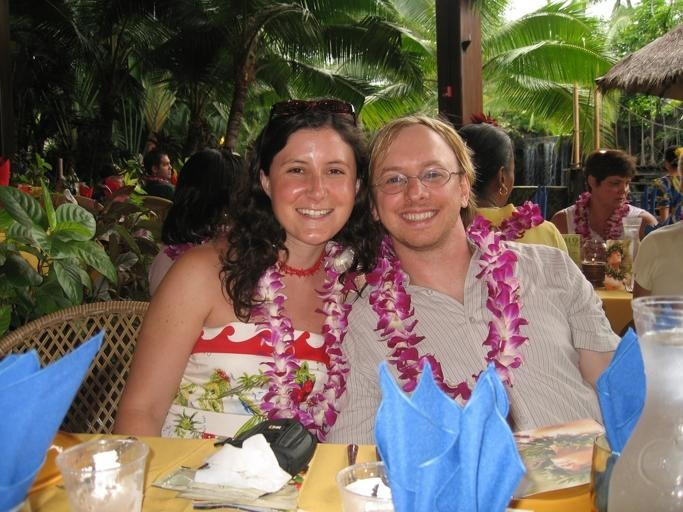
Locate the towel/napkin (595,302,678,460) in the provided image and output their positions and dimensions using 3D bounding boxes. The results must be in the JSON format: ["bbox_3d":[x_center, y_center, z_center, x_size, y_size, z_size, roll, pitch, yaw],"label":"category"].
[{"bbox_3d":[0.633,0.278,1.344,0.080,0.293,0.206,-9,-17,21],"label":"towel/napkin"}]

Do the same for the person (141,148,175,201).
[{"bbox_3d":[-2.531,-1.066,8.447,0.367,0.737,0.828,-10,9,-11],"label":"person"}]

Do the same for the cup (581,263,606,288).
[{"bbox_3d":[1.620,0.125,3.907,0.140,0.168,0.149,-1,4,0],"label":"cup"}]

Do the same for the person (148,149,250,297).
[{"bbox_3d":[-0.776,-0.118,3.484,0.415,1.067,0.349,5,-21,-11],"label":"person"}]

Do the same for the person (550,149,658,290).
[{"bbox_3d":[2.296,-0.183,5.323,0.933,1.471,0.827,0,1,12],"label":"person"}]

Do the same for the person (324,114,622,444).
[{"bbox_3d":[0.542,0.209,2.496,0.984,1.460,0.535,-7,-12,1],"label":"person"}]

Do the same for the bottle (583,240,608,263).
[{"bbox_3d":[1.842,-0.027,4.408,0.135,0.158,0.132,-2,3,-20],"label":"bottle"}]

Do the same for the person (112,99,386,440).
[{"bbox_3d":[-0.337,0.023,2.563,1.130,1.385,0.419,0,-2,-20],"label":"person"}]
